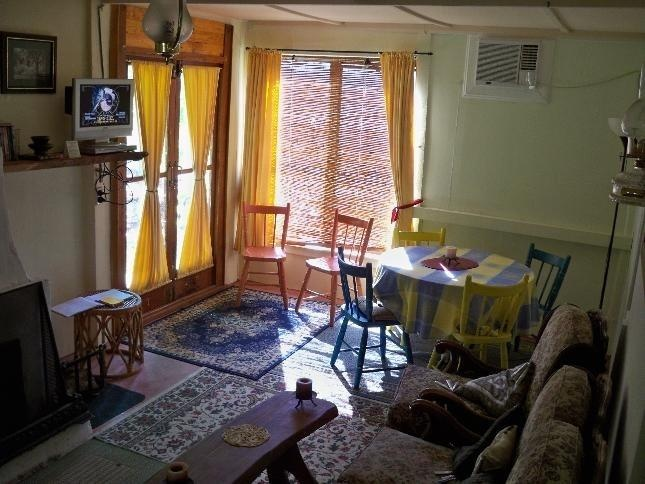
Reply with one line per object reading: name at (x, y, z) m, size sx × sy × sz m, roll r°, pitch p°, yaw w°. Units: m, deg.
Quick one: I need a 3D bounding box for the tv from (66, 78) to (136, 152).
tv at (-1.758, -1.066, 3.999) m, size 0.070 × 0.489 × 0.571 m, roll 18°, pitch 22°, yaw 21°

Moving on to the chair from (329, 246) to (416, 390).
chair at (0.465, 0.660, 4.342) m, size 0.692 × 1.011 × 0.662 m, roll 3°, pitch 5°, yaw -10°

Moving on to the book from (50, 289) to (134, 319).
book at (-1.779, 0.484, 3.875) m, size 0.360 × 0.105 × 0.585 m, roll 6°, pitch 15°, yaw 15°

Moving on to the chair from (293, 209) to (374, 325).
chair at (0.141, 0.257, 5.406) m, size 0.709 × 1.119 × 0.710 m, roll 2°, pitch 13°, yaw -15°

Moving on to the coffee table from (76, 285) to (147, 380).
coffee table at (-1.745, 0.769, 4.084) m, size 0.467 × 0.516 × 0.480 m, roll -4°, pitch 8°, yaw -24°

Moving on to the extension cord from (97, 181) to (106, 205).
extension cord at (-1.886, -0.424, 4.261) m, size 0.072 × 0.180 × 0.111 m, roll -4°, pitch 5°, yaw -6°

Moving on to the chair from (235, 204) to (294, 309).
chair at (-0.654, 0.116, 5.572) m, size 0.722 × 1.047 × 0.689 m, roll 15°, pitch 21°, yaw 27°
